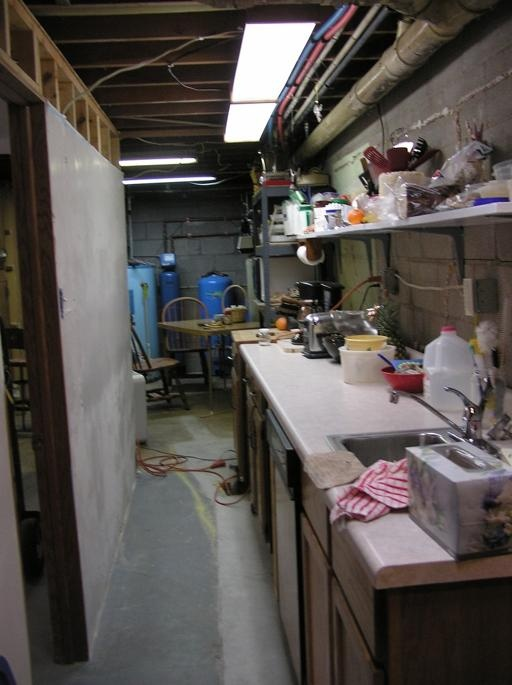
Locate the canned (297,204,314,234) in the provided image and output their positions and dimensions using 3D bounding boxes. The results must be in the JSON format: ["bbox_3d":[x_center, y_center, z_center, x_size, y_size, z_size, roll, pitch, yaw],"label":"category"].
[{"bbox_3d":[0.324,-0.829,3.602,0.101,0.171,0.093,-3,8,1],"label":"canned"}]

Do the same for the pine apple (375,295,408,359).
[{"bbox_3d":[0.550,-0.059,2.362,0.096,0.238,0.192,2,10,-7],"label":"pine apple"}]

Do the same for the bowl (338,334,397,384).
[{"bbox_3d":[0.428,0.056,2.075,0.189,0.140,0.187,-1,7,0],"label":"bowl"}]

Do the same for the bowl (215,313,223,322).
[{"bbox_3d":[-0.356,-0.250,5.287,0.084,0.072,0.078,-3,4,0],"label":"bowl"}]

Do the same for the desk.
[{"bbox_3d":[-0.539,-0.080,5.490,0.774,1.228,0.682,-5,7,-20],"label":"desk"}]

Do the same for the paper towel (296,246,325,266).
[{"bbox_3d":[0.355,-0.553,3.612,0.162,0.095,0.208,0,32,-13],"label":"paper towel"}]

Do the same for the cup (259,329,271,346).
[{"bbox_3d":[0.050,-0.033,3.203,0.068,0.088,0.089,-1,4,-1],"label":"cup"}]

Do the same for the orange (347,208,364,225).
[{"bbox_3d":[0.393,-0.500,2.137,0.068,0.075,0.113,-2,7,9],"label":"orange"}]

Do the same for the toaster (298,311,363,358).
[{"bbox_3d":[0.345,-0.060,2.536,0.277,0.200,0.209,-2,1,-23],"label":"toaster"}]
